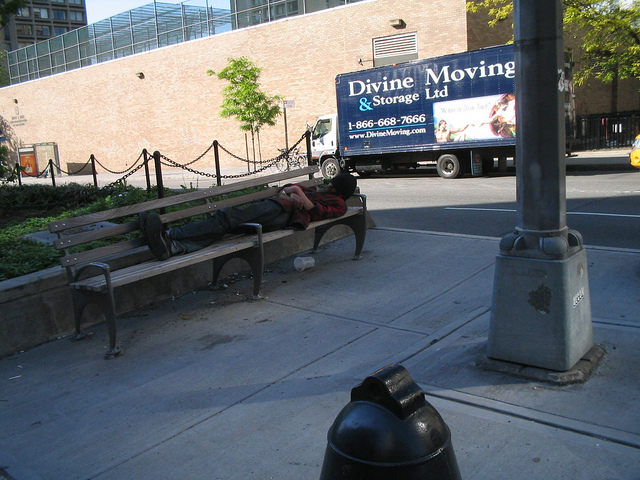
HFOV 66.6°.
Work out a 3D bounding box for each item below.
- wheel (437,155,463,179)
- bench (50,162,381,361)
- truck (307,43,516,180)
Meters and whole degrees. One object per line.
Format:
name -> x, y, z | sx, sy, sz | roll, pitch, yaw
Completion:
wheel -> 5.065, -2.846, 18.815 | 0.313, 0.751, 0.762 | -12, -21, -41
bench -> -1.696, -0.115, 7.174 | 3.115, 1.321, 4.595 | 9, 19, 42
truck -> 4.008, -4.982, 20.552 | 9.436, 4.440, 3.054 | 4, 17, 34
